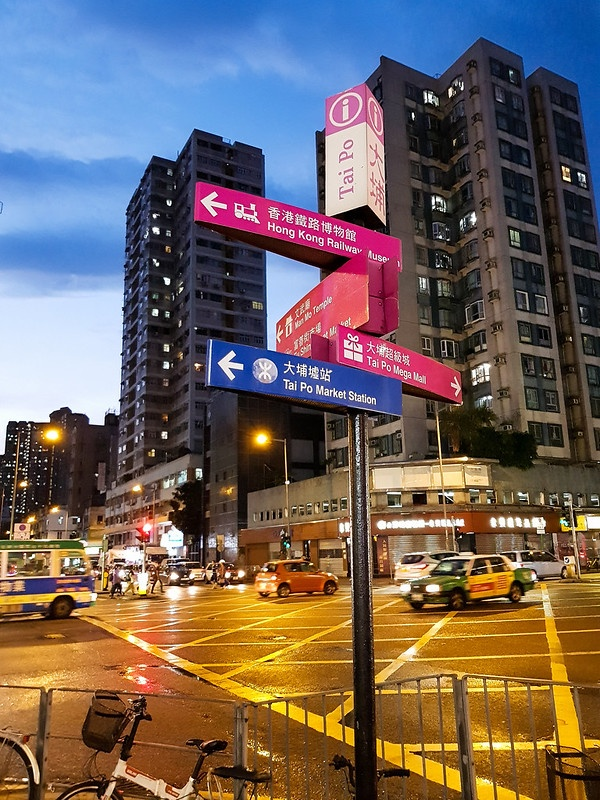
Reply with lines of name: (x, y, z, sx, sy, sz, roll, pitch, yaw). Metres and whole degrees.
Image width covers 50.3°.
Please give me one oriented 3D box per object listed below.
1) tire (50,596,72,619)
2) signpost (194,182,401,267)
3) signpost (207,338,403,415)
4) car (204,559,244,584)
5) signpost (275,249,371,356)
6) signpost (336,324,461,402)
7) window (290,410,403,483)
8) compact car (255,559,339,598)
tire: (-7.989, 6.901, 21.351, 0.868, 0.888, 0.304, 1, -4, -35)
signpost: (-0.030, -1.366, 5.134, 1.831, 0.473, 0.488, 4, -12, -30)
signpost: (0.049, -0.150, 4.636, 1.876, 0.386, 0.285, 8, -14, -44)
car: (-4.904, 11.715, 43.004, 1.642, 1.380, 2.803, 9, -21, -34)
signpost: (0.271, -0.774, 5.175, 0.158, 0.441, 1.111, 11, -20, -19)
signpost: (0.862, -0.260, 5.613, 1.600, 0.373, 0.210, 14, -19, -34)
window: (3.156, 3.717, 48.271, 4.148, 7.850, 7.943, 9, -16, -33)
compact car: (-0.237, 8.032, 28.821, 3.078, 1.473, 1.808, 1, -10, -24)
